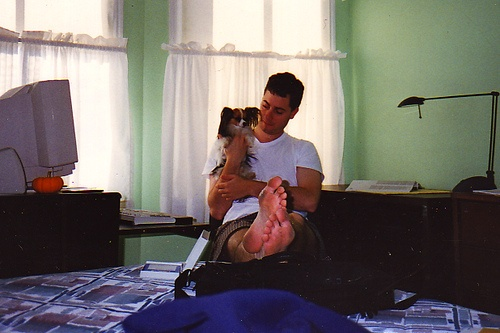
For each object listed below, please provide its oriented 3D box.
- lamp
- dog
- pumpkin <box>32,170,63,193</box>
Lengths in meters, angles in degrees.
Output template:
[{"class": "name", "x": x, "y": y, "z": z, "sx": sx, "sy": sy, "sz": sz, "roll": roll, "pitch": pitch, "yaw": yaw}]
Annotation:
[{"class": "lamp", "x": 1.302, "y": -0.168, "z": 2.830, "sx": 0.606, "sy": 0.570, "sz": 0.610, "roll": -13, "pitch": 12, "yaw": -33}, {"class": "dog", "x": -0.078, "y": -0.049, "z": 2.772, "sx": 0.255, "sy": 0.593, "sz": 0.306, "roll": 1, "pitch": -8, "yaw": 2}, {"class": "pumpkin", "x": -1.009, "y": 0.068, "z": 2.280, "sx": 0.153, "sy": 0.143, "sz": 0.151, "roll": 1, "pitch": 13, "yaw": -20}]
